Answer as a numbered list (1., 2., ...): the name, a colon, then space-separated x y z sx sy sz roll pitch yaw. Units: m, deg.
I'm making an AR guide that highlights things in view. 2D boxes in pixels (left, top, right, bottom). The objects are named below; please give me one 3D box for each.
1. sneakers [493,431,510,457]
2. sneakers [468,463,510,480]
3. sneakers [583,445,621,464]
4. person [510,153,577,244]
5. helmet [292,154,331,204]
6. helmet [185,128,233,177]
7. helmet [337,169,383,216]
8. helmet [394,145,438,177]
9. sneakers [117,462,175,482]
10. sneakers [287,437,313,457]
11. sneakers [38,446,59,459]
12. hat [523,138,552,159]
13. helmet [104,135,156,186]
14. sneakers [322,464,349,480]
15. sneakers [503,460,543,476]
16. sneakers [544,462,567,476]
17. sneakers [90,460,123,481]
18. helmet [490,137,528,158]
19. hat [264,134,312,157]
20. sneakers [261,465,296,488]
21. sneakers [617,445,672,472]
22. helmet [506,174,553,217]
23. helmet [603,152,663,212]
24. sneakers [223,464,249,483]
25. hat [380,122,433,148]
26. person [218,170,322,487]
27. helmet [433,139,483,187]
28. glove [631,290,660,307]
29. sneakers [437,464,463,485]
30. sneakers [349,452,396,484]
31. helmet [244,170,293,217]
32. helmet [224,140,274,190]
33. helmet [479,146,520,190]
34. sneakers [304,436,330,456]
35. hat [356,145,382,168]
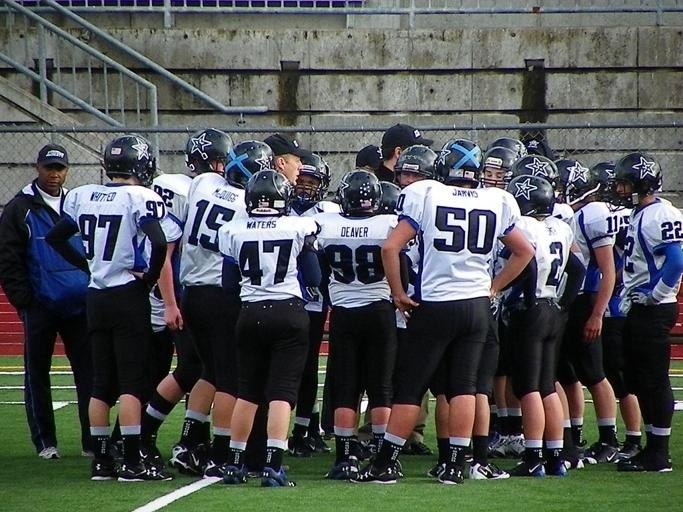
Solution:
1. sneakers: 1.638 1.911 12.367 0.100 0.120 0.273 39 27 -6
2. sneakers: 1.364 1.983 11.261 0.376 0.156 0.149 1 -3 -11
3. sneakers: 2.542 1.941 11.961 0.407 0.152 0.185 -1 -32 -22
4. person: 1.967 -0.714 12.121 0.524 0.637 0.716 -5 9 -11
5. helmet: -0.291 -0.755 12.121 0.353 0.464 0.486 2 -5 6
6. helmet: -1.329 -1.013 11.871 0.476 0.421 0.354 -11 -4 9
7. helmet: 0.192 -0.571 11.314 0.332 0.376 0.432 0 7 -1
8. helmet: 0.743 -0.923 11.754 0.256 0.282 0.359 8 16 15
9. sneakers: -1.806 2.005 11.309 0.508 0.200 0.188 1 -1 -9
10. sneakers: -0.411 1.954 12.444 0.239 0.252 0.153 3 -3 17
11. sneakers: -2.863 1.945 11.969 0.168 0.102 0.078 -5 -10 13
12. hat: 2.107 -1.178 13.026 0.267 0.312 0.212 8 -10 -22
13. helmet: -1.995 -0.932 11.552 0.388 0.456 0.504 3 4 22
14. sneakers: -0.044 2.010 11.332 0.102 0.124 0.283 10 -14 -28
15. sneakers: 1.717 1.997 11.408 0.357 0.158 0.132 3 -9 13
16. sneakers: 2.011 2.003 11.352 0.173 0.087 0.108 -8 -33 15
17. sneakers: -2.171 1.988 11.239 0.356 0.121 0.140 6 -45 -37
18. helmet: 1.668 -1.051 12.116 0.306 0.234 0.259 16 33 25
19. hat: -0.541 -1.103 12.091 0.377 0.156 0.244 12 16 -15
20. sneakers: -0.515 2.025 11.064 0.134 0.185 0.413 -2 -8 39
21. sneakers: 2.902 1.921 11.511 0.554 0.243 0.209 2 -8 3
22. helmet: 1.768 -0.589 11.553 0.422 0.341 0.312 9 10 -18
23. helmet: 2.857 -0.760 12.037 0.532 0.522 0.417 1 0 1
24. sneakers: -0.956 2.006 11.203 0.121 0.109 0.290 -13 -4 3
25. hat: 0.682 -1.274 12.932 0.403 0.241 0.282 4 9 -3
26. person: -0.657 0.643 11.092 0.911 2.881 0.370 1 -5 -4
27. helmet: 1.106 -0.892 11.456 0.338 0.393 0.469 8 8 -1
28. glove: 2.901 0.394 11.629 0.242 0.130 0.110 0 -6 15
29. sneakers: 1.009 1.993 11.104 0.230 0.176 0.163 1 -5 3
30. sneakers: 0.344 1.994 11.236 0.488 0.236 0.180 0 -12 9
31. helmet: -0.664 -0.575 11.105 0.334 0.346 0.432 2 12 5
32. helmet: -0.874 -0.922 11.567 0.481 0.400 0.346 -25 24 -23
33. helmet: 1.535 -0.895 11.869 0.309 0.378 0.418 8 26 13
34. sneakers: -0.226 1.948 12.539 0.105 0.134 0.326 -8 -8 40
35. hat: 0.311 -1.070 12.890 0.279 0.215 0.465 13 11 24
